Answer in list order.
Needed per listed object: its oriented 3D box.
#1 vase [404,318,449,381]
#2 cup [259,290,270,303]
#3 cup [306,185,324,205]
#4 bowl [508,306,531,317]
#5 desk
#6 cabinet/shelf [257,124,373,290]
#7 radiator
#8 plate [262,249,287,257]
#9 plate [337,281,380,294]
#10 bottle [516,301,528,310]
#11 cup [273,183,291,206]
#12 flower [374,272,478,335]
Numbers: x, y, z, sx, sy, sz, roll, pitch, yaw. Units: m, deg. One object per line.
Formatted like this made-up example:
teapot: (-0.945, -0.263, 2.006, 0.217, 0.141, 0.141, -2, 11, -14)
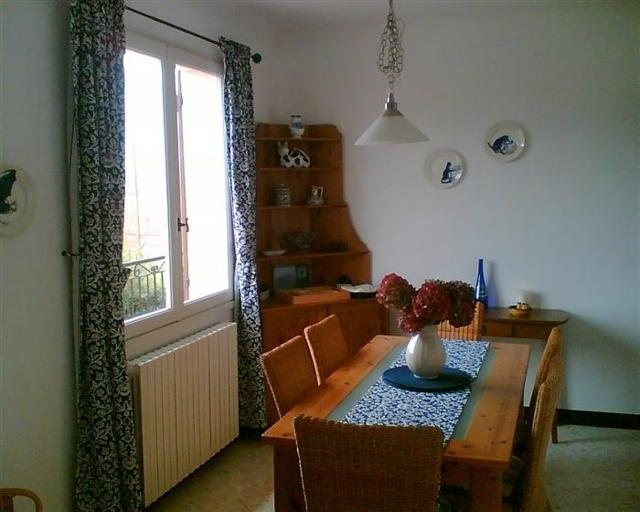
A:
vase: (0.560, 0.478, 2.792, 0.206, 0.310, 0.208, -7, 9, -35)
cup: (-0.456, 0.321, 4.388, 0.071, 0.091, 0.128, 5, 8, 28)
cup: (-0.041, -0.518, 4.538, 0.105, 0.157, 0.202, 1, 10, 13)
bowl: (1.517, 0.423, 4.034, 0.097, 0.045, 0.102, 3, 0, 0)
desk: (1.439, 0.898, 4.029, 0.869, 0.870, 0.400, 1, -12, 9)
cabinet/shelf: (-0.058, -0.466, 4.511, 1.174, 1.856, 0.574, -3, 6, -21)
radiator: (-0.893, 0.980, 3.311, 0.101, 0.988, 1.068, 0, 4, 21)
plate: (-0.387, -0.027, 4.429, 0.195, 0.062, 0.256, -2, 10, -5)
plate: (0.320, 0.273, 4.504, 0.312, 0.034, 0.312, -2, 10, -8)
bottle: (1.553, 0.392, 4.070, 0.061, 0.071, 0.067, -2, 6, -25)
cup: (-0.321, -0.510, 4.407, 0.133, 0.177, 0.116, -3, 9, -12)
flower: (0.550, 0.258, 2.704, 0.475, 0.311, 0.275, -5, 10, -23)
